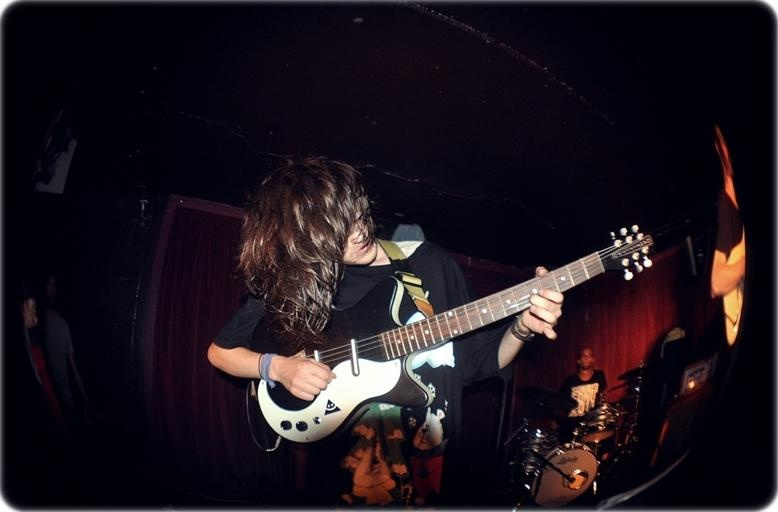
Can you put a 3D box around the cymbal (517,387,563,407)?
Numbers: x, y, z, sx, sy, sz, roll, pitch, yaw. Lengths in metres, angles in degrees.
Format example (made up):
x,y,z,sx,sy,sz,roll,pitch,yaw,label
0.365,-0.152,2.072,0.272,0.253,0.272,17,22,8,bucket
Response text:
x,y,z,sx,sy,sz,roll,pitch,yaw,label
1.217,1.130,4.415,0.209,0.041,0.212,4,10,4,cymbal

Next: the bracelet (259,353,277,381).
x,y,z,sx,sy,sz,roll,pitch,yaw,label
-0.792,0.714,3.539,0.110,0.152,0.059,0,-3,1,bracelet
